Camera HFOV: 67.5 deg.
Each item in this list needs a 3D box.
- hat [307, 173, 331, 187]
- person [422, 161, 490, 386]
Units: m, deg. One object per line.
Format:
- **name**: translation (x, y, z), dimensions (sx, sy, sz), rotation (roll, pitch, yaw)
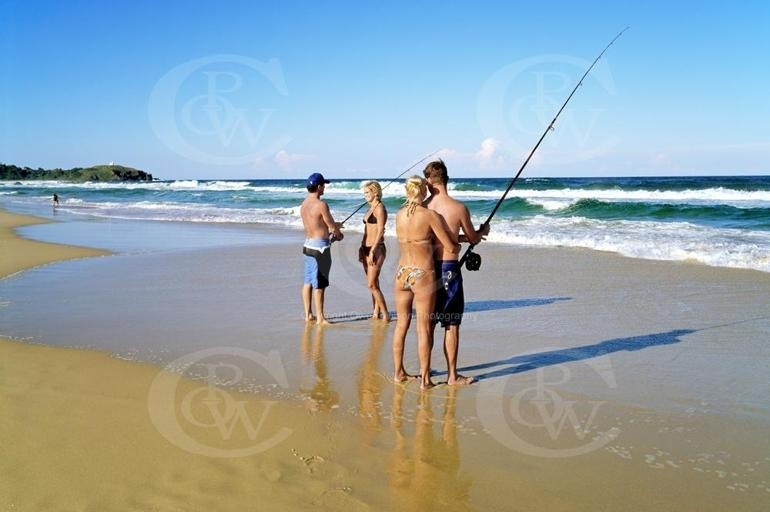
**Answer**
- **hat**: translation (-0.833, -0.926, 7.009), dimensions (0.242, 0.159, 0.234), rotation (-1, 14, -8)
- **person**: translation (0.562, 0.129, 5.496), dimensions (0.794, 2.056, 0.964), rotation (1, -2, -3)
